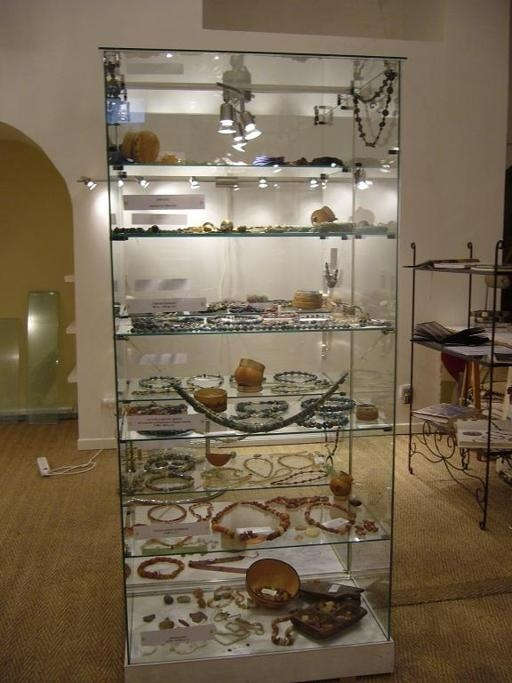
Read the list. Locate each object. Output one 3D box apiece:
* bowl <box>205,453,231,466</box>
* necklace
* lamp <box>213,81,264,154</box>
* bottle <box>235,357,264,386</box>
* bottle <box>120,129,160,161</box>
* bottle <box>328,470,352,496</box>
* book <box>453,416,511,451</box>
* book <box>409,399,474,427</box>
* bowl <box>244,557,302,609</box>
[{"bbox_3d":[-0.128,0.384,1.973,0.061,0.025,0.060,0,3,0],"label":"bowl"},{"bbox_3d":[-0.005,0.054,1.960,0.912,1.901,0.472,-2,9,-13],"label":"necklace"},{"bbox_3d":[-0.057,-0.688,1.803,0.176,0.183,0.154,10,28,25],"label":"lamp"},{"bbox_3d":[-0.026,0.103,1.959,0.098,0.077,0.096,16,7,-2],"label":"bottle"},{"bbox_3d":[-0.334,-0.563,1.707,0.100,0.089,0.023,13,2,-23],"label":"bottle"},{"bbox_3d":[0.307,0.516,2.138,0.084,0.090,0.087,0,-6,2],"label":"bottle"},{"bbox_3d":[1.259,0.506,3.224,0.264,0.056,0.255,-2,8,-15],"label":"book"},{"bbox_3d":[1.143,0.440,3.567,0.195,0.041,0.186,-12,15,-43],"label":"book"},{"bbox_3d":[0.058,0.908,2.121,0.176,0.087,0.165,6,7,-1],"label":"bowl"}]
